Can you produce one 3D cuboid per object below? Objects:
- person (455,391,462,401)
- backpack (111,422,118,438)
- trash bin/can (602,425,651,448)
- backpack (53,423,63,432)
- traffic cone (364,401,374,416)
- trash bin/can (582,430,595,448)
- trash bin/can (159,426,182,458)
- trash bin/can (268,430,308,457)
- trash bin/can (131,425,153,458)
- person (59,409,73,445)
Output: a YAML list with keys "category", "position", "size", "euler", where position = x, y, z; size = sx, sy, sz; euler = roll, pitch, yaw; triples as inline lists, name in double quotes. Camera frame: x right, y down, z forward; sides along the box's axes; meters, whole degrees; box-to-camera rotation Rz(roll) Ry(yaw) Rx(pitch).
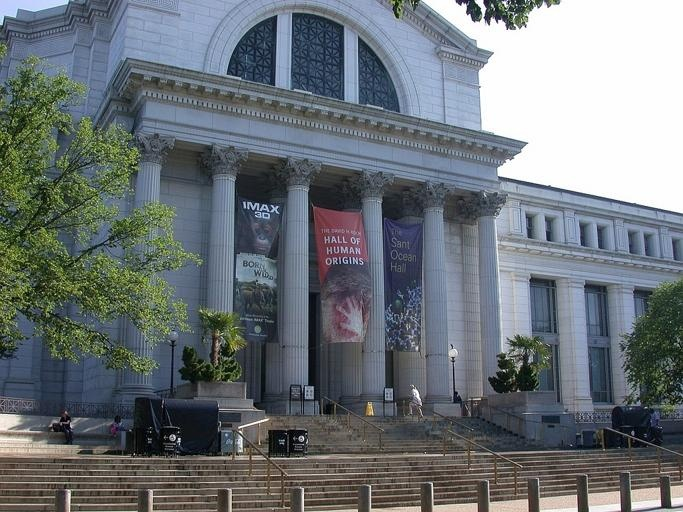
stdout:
- category: "person"
  position: [7.290, 8.667, 51.443]
  size: [0.361, 0.774, 1.554]
  euler: [-1, -15, 8]
- category: "backpack"
  position: [-10.800, 8.199, 39.438]
  size: [0.364, 0.651, 0.459]
  euler: [3, -14, -7]
- category: "trash bin/can"
  position: [15.312, 9.657, 44.493]
  size: [2.018, 0.996, 1.112]
  euler: [5, -6, -20]
- category: "backpack"
  position: [-13.015, 7.820, 38.311]
  size: [0.381, 0.417, 0.464]
  euler: [2, 6, 6]
- category: "traffic cone"
  position: [1.598, 8.545, 46.648]
  size: [0.565, 1.382, 0.578]
  euler: [3, -9, 5]
- category: "trash bin/can"
  position: [13.600, 10.063, 45.773]
  size: [0.676, 0.971, 0.976]
  euler: [1, -7, 3]
- category: "trash bin/can"
  position: [-6.824, 7.402, 33.241]
  size: [0.901, 1.239, 1.038]
  euler: [4, -7, -36]
- category: "trash bin/can"
  position: [-2.223, 7.846, 34.959]
  size: [1.546, 1.050, 0.669]
  euler: [5, -15, -16]
- category: "trash bin/can"
  position: [-8.064, 7.427, 33.280]
  size: [1.045, 1.547, 1.000]
  euler: [1, -12, -10]
- category: "person"
  position: [-12.590, 7.848, 38.107]
  size: [0.686, 1.477, 1.524]
  euler: [6, -15, -18]
